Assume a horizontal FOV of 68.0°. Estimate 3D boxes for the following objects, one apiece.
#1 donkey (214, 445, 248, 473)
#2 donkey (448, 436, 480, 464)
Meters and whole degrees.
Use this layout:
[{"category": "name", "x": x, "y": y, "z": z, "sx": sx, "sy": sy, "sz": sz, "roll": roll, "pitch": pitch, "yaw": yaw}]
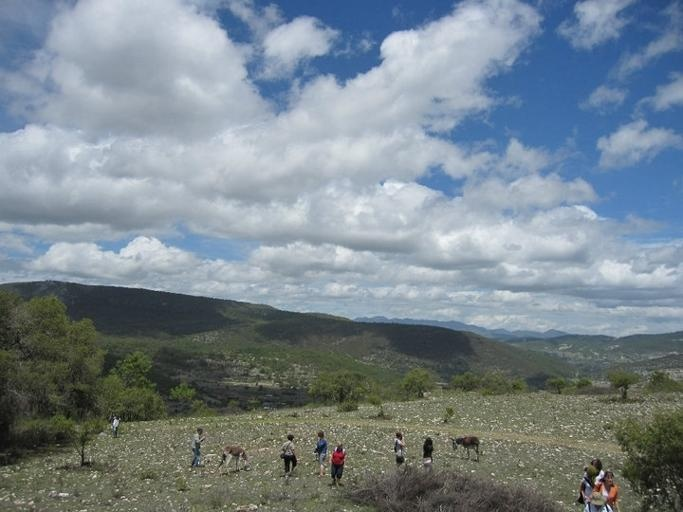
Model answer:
[{"category": "donkey", "x": -8.392, "y": 15.791, "z": 39.965, "sx": 1.456, "sy": 2.132, "sz": 3.751, "roll": -4, "pitch": -15, "yaw": 31}, {"category": "donkey", "x": 10.731, "y": 16.043, "z": 43.442, "sx": 2.228, "sy": 1.866, "sz": 3.957, "roll": 4, "pitch": -2, "yaw": 17}]
